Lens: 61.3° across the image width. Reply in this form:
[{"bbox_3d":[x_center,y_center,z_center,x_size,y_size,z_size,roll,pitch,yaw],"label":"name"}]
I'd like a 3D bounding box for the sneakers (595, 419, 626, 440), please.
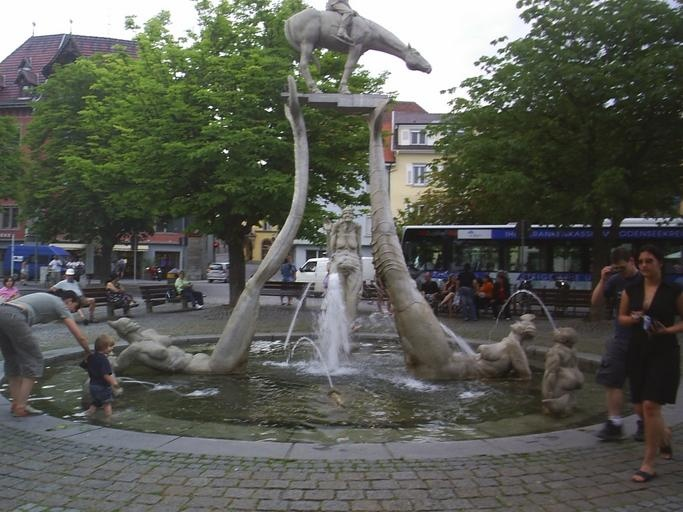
[{"bbox_3d":[2.973,1.943,6.420,0.432,0.169,0.128,-4,0,-8],"label":"sneakers"}]

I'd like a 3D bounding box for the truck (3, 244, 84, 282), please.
[{"bbox_3d":[-23.537,0.280,41.926,6.751,2.959,3.617,-1,1,1],"label":"truck"}]

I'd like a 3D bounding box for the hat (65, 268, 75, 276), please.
[{"bbox_3d":[-7.272,0.423,15.445,0.391,0.177,0.505,0,1,-24],"label":"hat"}]

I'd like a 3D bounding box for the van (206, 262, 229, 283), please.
[{"bbox_3d":[-10.004,1.320,46.838,1.736,1.170,2.744,0,6,1],"label":"van"}]

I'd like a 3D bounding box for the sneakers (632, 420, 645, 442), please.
[{"bbox_3d":[3.341,1.975,6.454,0.098,0.110,0.299,-4,-4,31],"label":"sneakers"}]

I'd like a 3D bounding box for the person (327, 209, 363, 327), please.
[{"bbox_3d":[0.083,0.290,13.185,0.733,2.255,0.891,0,2,0],"label":"person"}]

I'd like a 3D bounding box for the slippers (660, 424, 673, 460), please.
[{"bbox_3d":[3.318,1.913,5.897,0.107,0.329,0.132,-4,3,-25],"label":"slippers"}]

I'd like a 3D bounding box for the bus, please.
[{"bbox_3d":[9.794,0.266,23.974,15.666,3.713,3.825,1,1,10],"label":"bus"}]

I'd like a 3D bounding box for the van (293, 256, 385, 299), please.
[{"bbox_3d":[-0.401,1.094,31.273,4.379,1.661,1.933,2,2,9],"label":"van"}]
